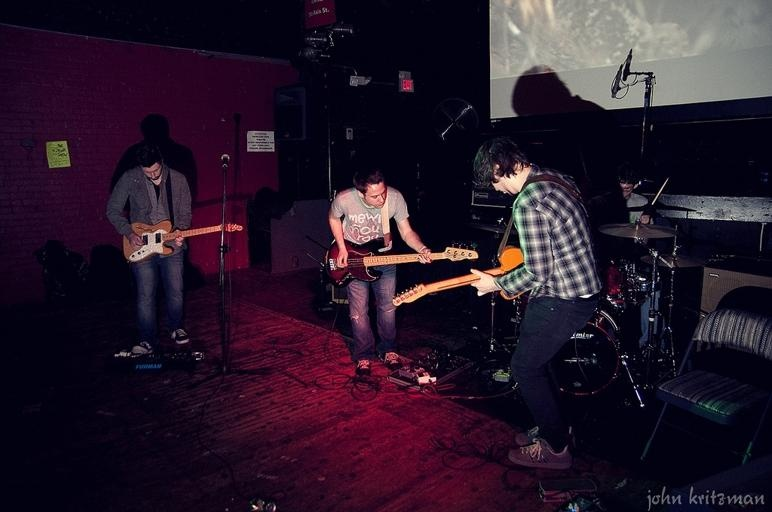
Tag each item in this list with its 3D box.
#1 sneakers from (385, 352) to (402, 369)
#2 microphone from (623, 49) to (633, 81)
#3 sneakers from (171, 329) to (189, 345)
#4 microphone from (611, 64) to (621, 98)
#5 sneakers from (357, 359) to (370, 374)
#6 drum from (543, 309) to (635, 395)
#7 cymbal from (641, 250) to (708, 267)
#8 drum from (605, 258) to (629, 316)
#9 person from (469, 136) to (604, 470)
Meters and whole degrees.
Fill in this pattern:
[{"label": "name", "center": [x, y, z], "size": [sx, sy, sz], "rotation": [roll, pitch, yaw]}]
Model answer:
[{"label": "sneakers", "center": [0.074, 1.223, 6.019], "size": [0.191, 0.090, 0.253], "rotation": [0, 3, 4]}, {"label": "microphone", "center": [3.268, -2.581, 6.979], "size": [0.091, 0.348, 0.101], "rotation": [3, -4, -23]}, {"label": "sneakers", "center": [-2.684, 1.070, 6.758], "size": [0.117, 0.124, 0.316], "rotation": [1, -10, -35]}, {"label": "microphone", "center": [3.145, -2.401, 7.099], "size": [0.095, 0.394, 0.122], "rotation": [11, 0, 23]}, {"label": "sneakers", "center": [-0.254, 1.285, 6.032], "size": [0.154, 0.151, 0.152], "rotation": [-4, -13, 17]}, {"label": "drum", "center": [2.246, 1.102, 5.940], "size": [0.898, 1.105, 0.869], "rotation": [-1, 13, 0]}, {"label": "cymbal", "center": [3.201, 0.048, 5.685], "size": [0.337, 0.077, 0.327], "rotation": [-15, 17, -33]}, {"label": "drum", "center": [2.564, 0.374, 5.782], "size": [0.224, 0.496, 0.546], "rotation": [5, 16, 23]}, {"label": "person", "center": [1.312, 0.472, 4.511], "size": [0.999, 2.916, 0.498], "rotation": [5, 16, 21]}]
